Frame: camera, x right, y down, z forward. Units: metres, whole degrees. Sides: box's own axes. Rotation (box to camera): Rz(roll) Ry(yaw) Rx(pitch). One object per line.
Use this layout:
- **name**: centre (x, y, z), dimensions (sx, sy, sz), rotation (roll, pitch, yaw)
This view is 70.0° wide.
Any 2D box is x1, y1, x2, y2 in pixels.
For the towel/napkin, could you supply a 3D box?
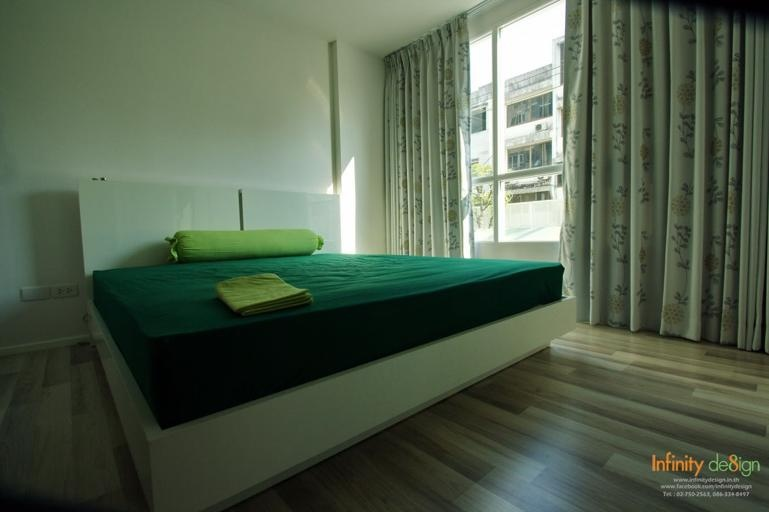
- **towel/napkin**: centre (-0.711, 0.210, 3.171), dimensions (0.465, 0.144, 0.483), rotation (-7, 9, -26)

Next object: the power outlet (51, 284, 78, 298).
- **power outlet**: centre (-2.559, 0.280, 4.370), dimensions (0.194, 0.108, 0.009), rotation (-8, 9, -32)
